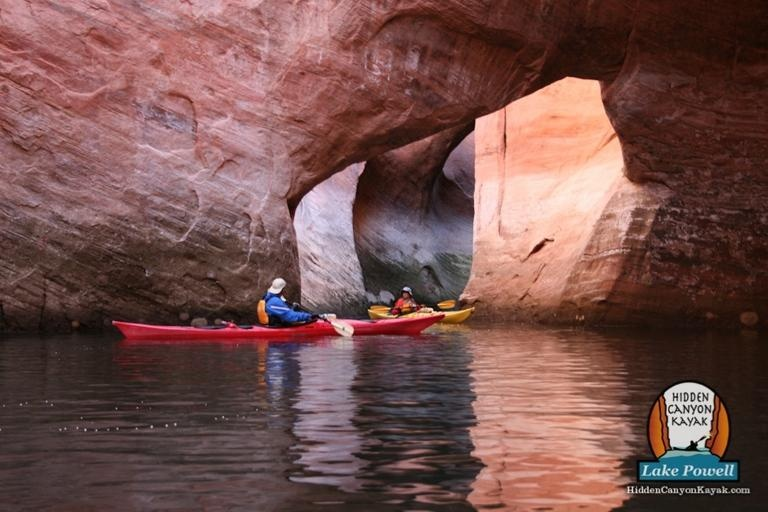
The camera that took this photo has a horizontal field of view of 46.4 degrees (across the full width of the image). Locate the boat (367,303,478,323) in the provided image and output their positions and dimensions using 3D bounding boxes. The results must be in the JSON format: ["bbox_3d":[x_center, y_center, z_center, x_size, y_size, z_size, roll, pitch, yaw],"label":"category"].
[{"bbox_3d":[0.330,1.540,23.858,4.296,0.447,0.811,-1,-4,14],"label":"boat"}]

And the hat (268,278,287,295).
[{"bbox_3d":[-2.086,0.595,17.809,0.375,0.348,0.130,5,-49,14],"label":"hat"}]

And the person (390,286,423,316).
[{"bbox_3d":[0.681,1.316,26.625,1.688,0.912,0.724,2,-4,-1],"label":"person"}]
